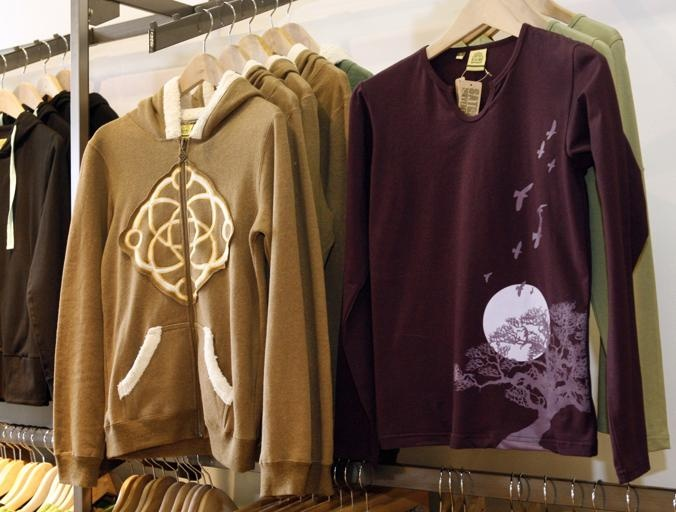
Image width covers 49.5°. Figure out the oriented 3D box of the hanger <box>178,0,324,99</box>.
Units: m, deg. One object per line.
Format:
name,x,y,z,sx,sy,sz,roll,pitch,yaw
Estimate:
hanger,-0.300,-0.610,2.196,0.399,0.311,0.299,-10,-8,-43
